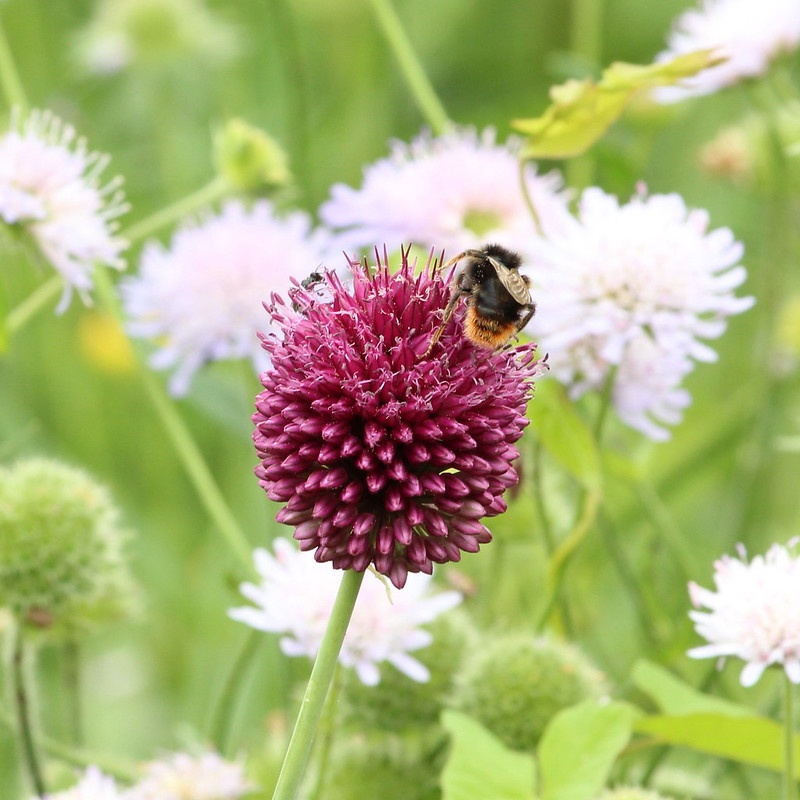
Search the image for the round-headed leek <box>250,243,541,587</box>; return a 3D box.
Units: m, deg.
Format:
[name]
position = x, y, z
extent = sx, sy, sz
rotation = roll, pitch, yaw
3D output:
[round-headed leek]
position = 0.024, 0.013, 0.845
extent = 0.196, 0.310, 0.286
rotation = -5, 20, -22
